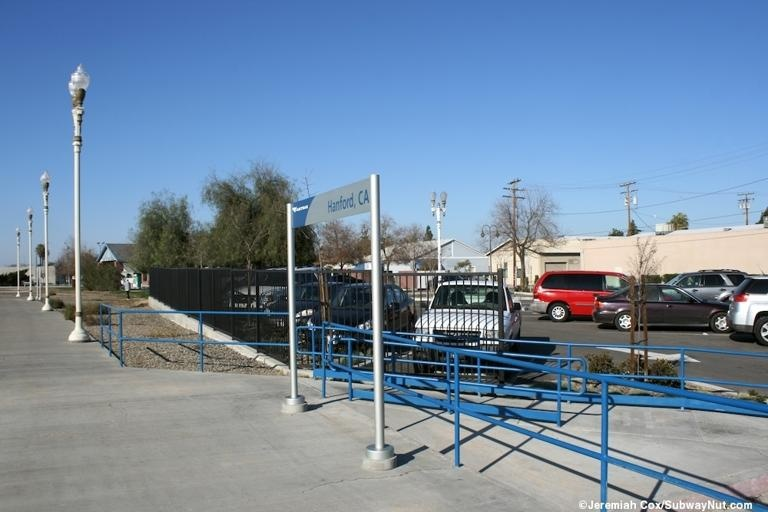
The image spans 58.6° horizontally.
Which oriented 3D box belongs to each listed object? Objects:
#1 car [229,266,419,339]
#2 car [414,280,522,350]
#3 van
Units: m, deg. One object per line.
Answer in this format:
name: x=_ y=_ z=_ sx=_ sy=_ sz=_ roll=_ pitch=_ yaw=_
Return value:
car: x=-1.644 y=1.046 z=16.366 sx=3.819 sy=1.316 sz=1.790 roll=3 pitch=2 yaw=24
car: x=1.769 y=1.272 z=15.100 sx=2.017 sy=1.494 sz=2.754 roll=-2 pitch=-2 yaw=24
van: x=7.171 y=1.529 z=25.368 sx=2.914 sy=1.344 sz=1.820 roll=-3 pitch=2 yaw=7
